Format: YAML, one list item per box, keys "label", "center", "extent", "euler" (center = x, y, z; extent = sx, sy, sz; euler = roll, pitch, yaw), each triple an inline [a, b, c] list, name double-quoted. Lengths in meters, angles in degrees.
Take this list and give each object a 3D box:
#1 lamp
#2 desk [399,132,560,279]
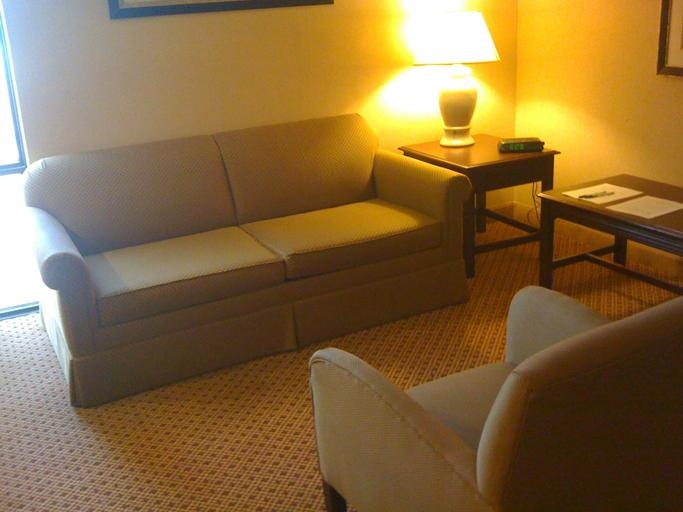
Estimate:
- label: "lamp"
  center: [0.767, -1.147, 3.847]
  extent: [0.553, 0.819, 0.584]
  euler: [6, 16, 34]
- label: "desk"
  center: [0.935, -0.367, 3.967]
  extent: [0.713, 0.757, 0.726]
  euler: [-10, 19, -27]
